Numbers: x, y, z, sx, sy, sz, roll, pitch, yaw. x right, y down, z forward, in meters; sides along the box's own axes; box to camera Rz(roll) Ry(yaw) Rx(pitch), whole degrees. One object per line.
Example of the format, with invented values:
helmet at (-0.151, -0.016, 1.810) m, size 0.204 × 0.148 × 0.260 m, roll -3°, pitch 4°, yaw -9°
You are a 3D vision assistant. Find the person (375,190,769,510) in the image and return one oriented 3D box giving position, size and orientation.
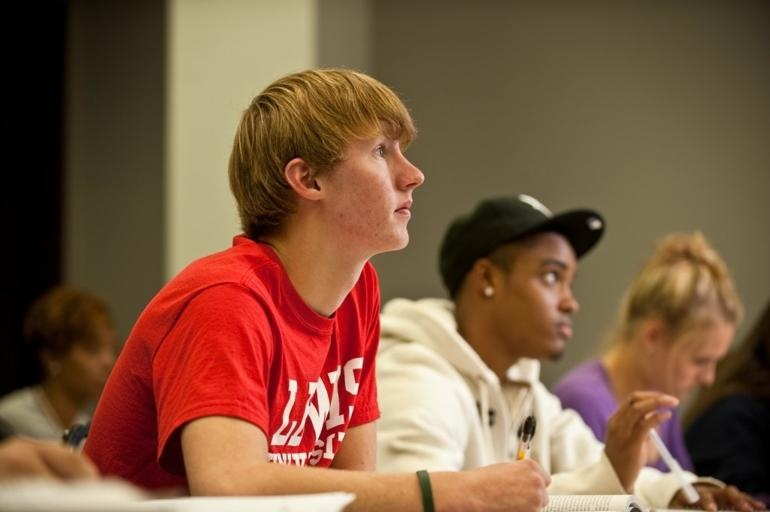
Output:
person at (0.443, 0.276, 1.942) m, size 0.732 × 0.698 × 0.590 m, roll -14°, pitch -24°, yaw 28°
